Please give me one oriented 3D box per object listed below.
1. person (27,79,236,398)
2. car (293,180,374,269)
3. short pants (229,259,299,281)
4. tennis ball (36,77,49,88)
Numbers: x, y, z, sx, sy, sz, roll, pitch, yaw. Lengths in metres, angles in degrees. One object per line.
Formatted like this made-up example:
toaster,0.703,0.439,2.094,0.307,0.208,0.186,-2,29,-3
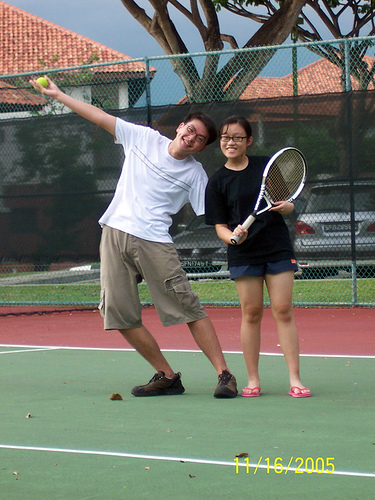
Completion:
person,-0.259,-0.033,3.643,1.072,2.014,0.519,-2,6,3
car,1.948,-0.323,7.403,1.091,0.753,1.709,-1,3,10
short pants,0.467,0.121,3.430,0.286,0.057,0.159,-9,-3,-4
tennis ball,-1.020,-1.174,3.878,0.072,0.090,0.166,-4,5,-16
